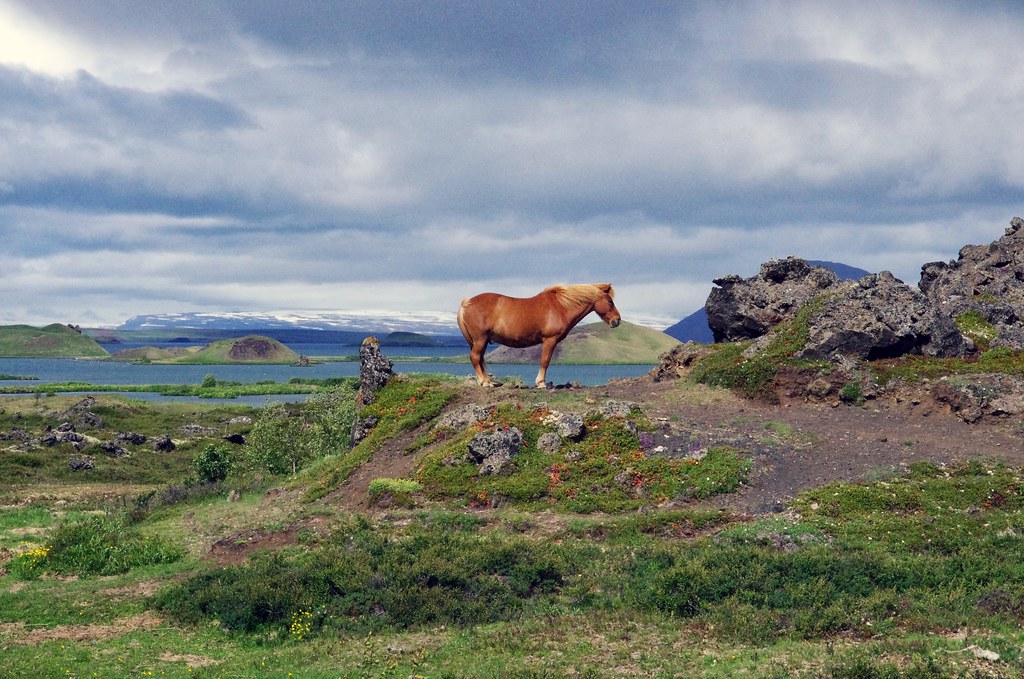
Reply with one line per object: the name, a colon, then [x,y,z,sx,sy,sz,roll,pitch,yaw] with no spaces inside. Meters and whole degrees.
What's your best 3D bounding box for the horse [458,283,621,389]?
horse: [2.195,-0.188,79.458,12.795,9.154,3.687,0,3,3]
